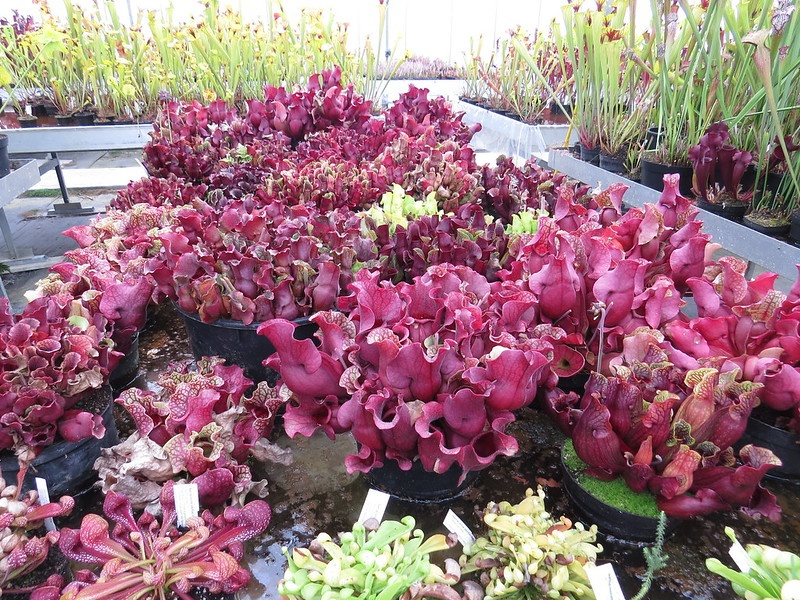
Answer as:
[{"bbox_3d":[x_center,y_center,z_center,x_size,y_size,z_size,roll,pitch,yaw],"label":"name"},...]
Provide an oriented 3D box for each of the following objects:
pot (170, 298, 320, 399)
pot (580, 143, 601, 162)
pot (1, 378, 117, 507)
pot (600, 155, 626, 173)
[{"bbox_3d":[-0.741,0.180,2.244,0.426,0.330,0.441,4,25,-2],"label":"pot"},{"bbox_3d":[1.688,-1.305,4.497,0.164,0.119,0.161,0,22,0],"label":"pot"},{"bbox_3d":[-1.235,0.536,1.927,0.313,0.246,0.371,14,27,25],"label":"pot"},{"bbox_3d":[1.748,-1.121,4.153,0.182,0.112,0.179,-2,33,1],"label":"pot"}]
